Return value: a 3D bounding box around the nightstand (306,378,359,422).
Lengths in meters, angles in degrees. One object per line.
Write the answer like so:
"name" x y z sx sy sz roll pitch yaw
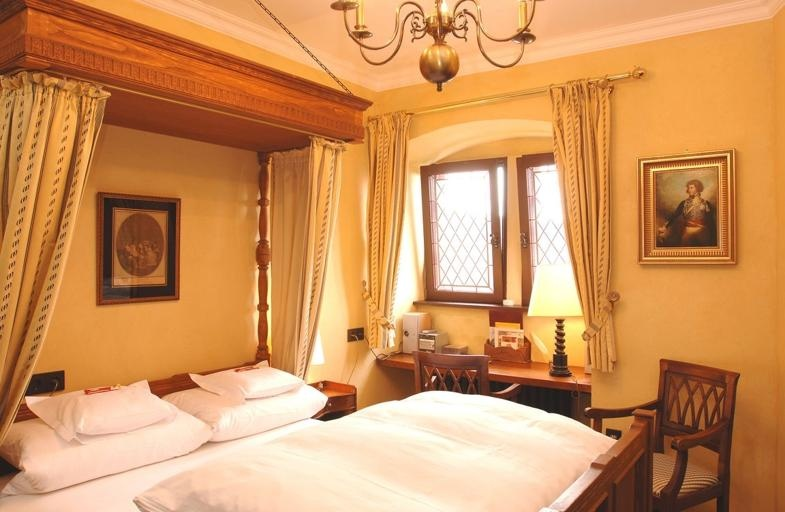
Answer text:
"nightstand" -0.478 1.194 4.852 0.313 0.385 0.412 -1 -2 36

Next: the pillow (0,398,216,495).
"pillow" -1.725 1.154 3.489 1.071 0.274 0.316 -4 13 -29
